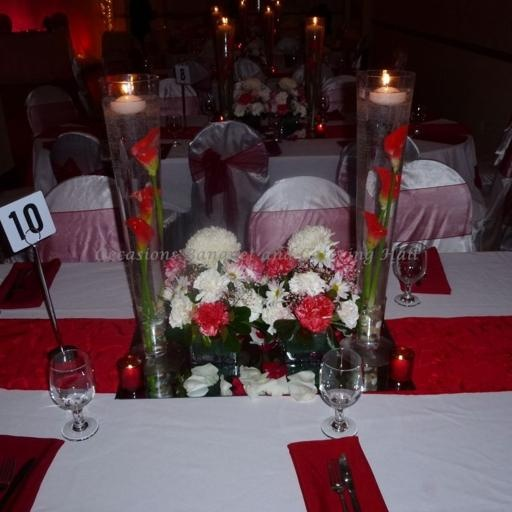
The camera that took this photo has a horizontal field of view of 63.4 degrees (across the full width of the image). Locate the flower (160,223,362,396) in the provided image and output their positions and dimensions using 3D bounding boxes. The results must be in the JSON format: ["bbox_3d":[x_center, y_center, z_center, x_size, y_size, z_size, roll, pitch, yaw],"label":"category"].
[{"bbox_3d":[0.023,0.119,1.061,0.504,0.423,0.401,0,70,0],"label":"flower"}]

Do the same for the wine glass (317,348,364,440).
[{"bbox_3d":[0.188,0.312,0.919,0.120,0.205,0.113,7,21,25],"label":"wine glass"}]
